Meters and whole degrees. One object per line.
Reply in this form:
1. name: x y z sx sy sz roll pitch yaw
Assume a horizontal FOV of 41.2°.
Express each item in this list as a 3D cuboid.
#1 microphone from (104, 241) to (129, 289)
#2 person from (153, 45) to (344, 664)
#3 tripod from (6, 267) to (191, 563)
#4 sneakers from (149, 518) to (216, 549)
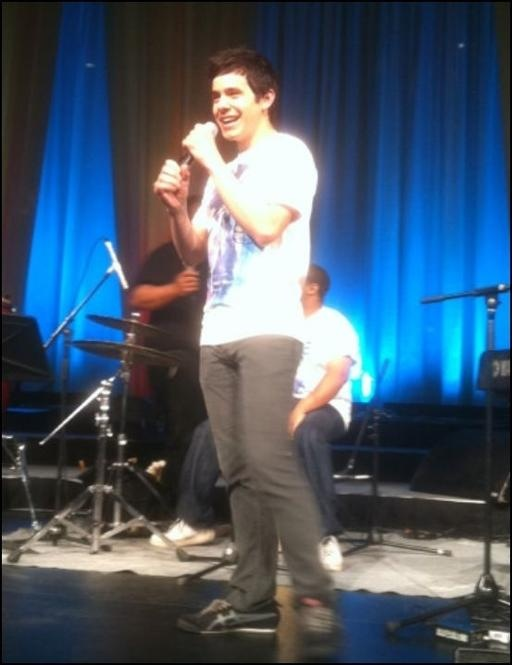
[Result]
1. microphone: -0.467 -0.226 2.269 0.041 0.166 0.028 -12 19 38
2. person: 0.004 0.011 1.513 0.337 1.304 0.286 1 4 8
3. tripod: -0.447 0.326 2.276 0.620 1.027 0.644 9 -11 -35
4. sneakers: -0.216 0.593 2.038 0.203 0.091 0.070 2 -19 -8
